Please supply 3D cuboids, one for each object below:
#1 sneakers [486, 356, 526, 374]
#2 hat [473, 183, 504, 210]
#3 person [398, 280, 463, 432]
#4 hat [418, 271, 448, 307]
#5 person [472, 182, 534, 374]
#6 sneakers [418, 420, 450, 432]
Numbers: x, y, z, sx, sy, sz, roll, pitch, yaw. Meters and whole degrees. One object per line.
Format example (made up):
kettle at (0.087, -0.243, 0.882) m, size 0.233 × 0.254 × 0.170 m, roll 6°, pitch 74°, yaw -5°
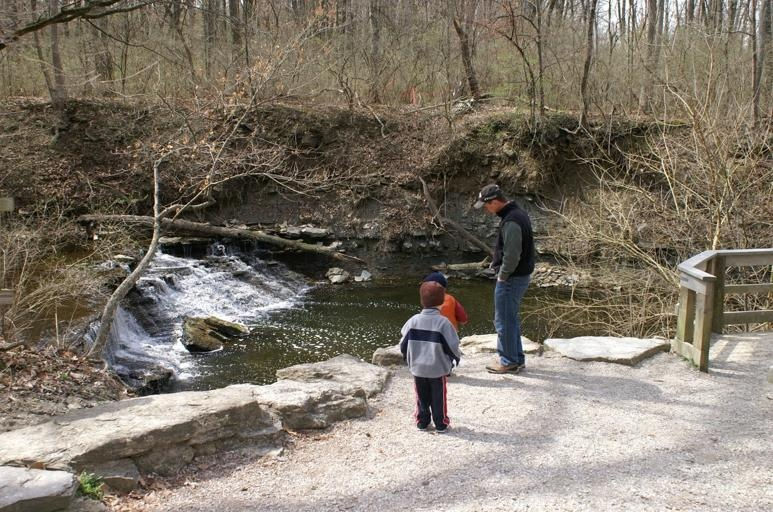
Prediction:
sneakers at (1.990, 1.834, 11.935) m, size 0.641 × 0.268 × 0.234 m, roll 5°, pitch 6°, yaw 9°
hat at (1.660, -0.947, 11.574) m, size 0.582 × 0.270 × 0.359 m, roll -16°, pitch 17°, yaw 9°
person at (0.632, 1.478, 10.440) m, size 0.838 × 2.232 × 0.418 m, roll -2°, pitch 8°, yaw 0°
hat at (0.697, 0.495, 10.566) m, size 0.391 × 0.401 × 0.519 m, roll 4°, pitch 8°, yaw 5°
person at (1.942, 0.410, 11.616) m, size 0.819 × 3.106 × 0.558 m, roll 1°, pitch 9°, yaw 18°
sneakers at (0.686, 2.517, 10.650) m, size 0.514 × 0.188 × 0.164 m, roll 6°, pitch -4°, yaw 9°
